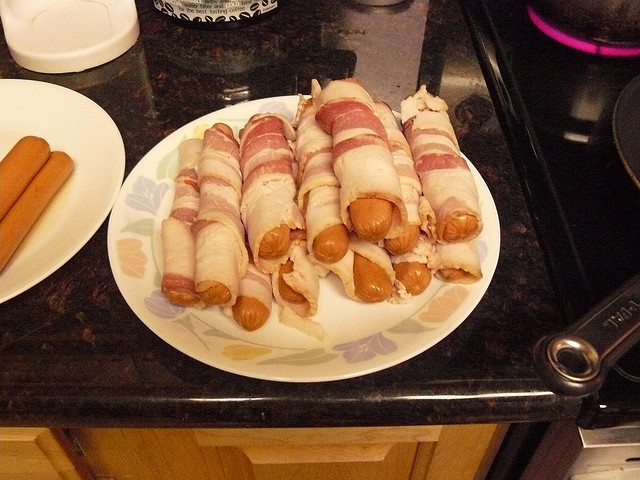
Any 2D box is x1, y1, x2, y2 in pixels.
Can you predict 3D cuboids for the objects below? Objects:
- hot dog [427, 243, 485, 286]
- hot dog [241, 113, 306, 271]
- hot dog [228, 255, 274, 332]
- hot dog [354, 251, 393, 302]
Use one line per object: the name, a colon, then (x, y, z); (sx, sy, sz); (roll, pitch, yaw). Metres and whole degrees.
hot dog: (0.256, 0.033, 1.085); (0.093, 0.042, 0.113); (10, 37, 14)
hot dog: (-0.087, -0.077, 1.080); (0.119, 0.109, 0.335); (-5, 55, -1)
hot dog: (-0.120, 0.108, 1.052); (0.065, 0.055, 0.137); (9, 32, -4)
hot dog: (0.091, 0.050, 1.038); (0.063, 0.109, 0.039); (-3, 28, -3)
